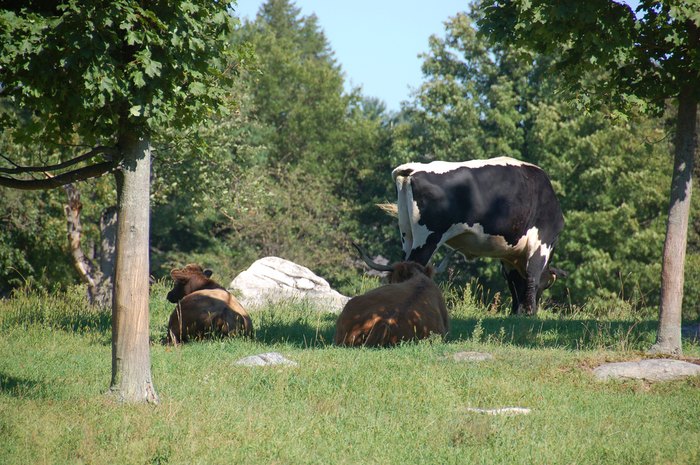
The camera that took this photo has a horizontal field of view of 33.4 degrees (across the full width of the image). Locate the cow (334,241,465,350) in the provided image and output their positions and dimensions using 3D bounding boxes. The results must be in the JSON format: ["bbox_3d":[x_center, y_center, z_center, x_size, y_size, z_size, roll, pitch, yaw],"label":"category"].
[{"bbox_3d":[1.109,1.473,25.842,1.818,1.651,2.600,8,29,17],"label":"cow"}]

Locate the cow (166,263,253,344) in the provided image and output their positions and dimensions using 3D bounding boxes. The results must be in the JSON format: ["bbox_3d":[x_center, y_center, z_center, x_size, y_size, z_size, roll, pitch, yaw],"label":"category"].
[{"bbox_3d":[-3.299,1.729,26.145,1.042,1.350,2.688,-1,21,-25],"label":"cow"}]

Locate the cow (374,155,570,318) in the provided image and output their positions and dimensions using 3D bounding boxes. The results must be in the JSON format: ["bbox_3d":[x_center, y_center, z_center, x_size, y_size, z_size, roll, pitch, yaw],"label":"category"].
[{"bbox_3d":[3.407,0.213,29.448,6.938,4.214,1.714,6,1,-40],"label":"cow"}]
